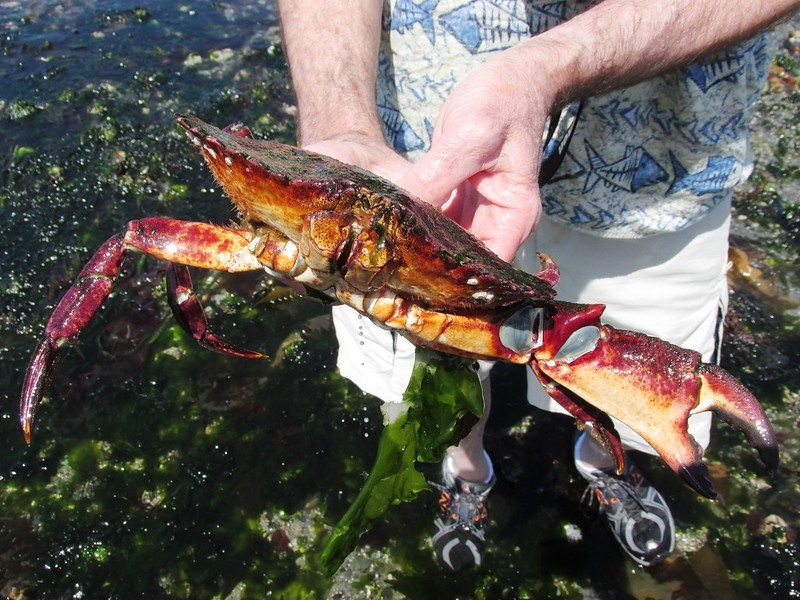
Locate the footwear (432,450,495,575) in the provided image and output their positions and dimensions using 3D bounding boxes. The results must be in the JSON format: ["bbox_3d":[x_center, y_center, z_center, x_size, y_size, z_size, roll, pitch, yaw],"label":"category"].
[{"bbox_3d":[0.316,1.088,3.840,0.254,0.259,0.615,1,79,-2],"label":"footwear"}]

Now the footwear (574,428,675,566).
[{"bbox_3d":[1.122,1.032,3.852,0.346,0.264,0.721,-32,61,2],"label":"footwear"}]
